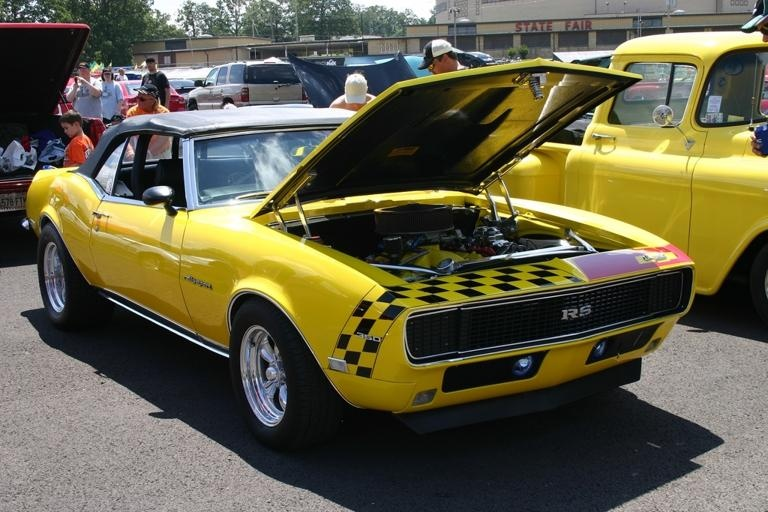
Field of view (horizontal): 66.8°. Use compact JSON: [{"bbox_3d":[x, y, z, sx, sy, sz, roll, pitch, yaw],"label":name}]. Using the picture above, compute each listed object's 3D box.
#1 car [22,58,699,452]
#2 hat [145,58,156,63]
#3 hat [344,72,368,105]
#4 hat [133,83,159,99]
[{"bbox_3d":[-0.686,-0.281,4.803,2.495,1.795,4.792,-10,19,-40],"label":"car"},{"bbox_3d":[-5.789,-4.910,14.536,0.289,0.099,0.275,-7,12,-32],"label":"hat"},{"bbox_3d":[-0.386,-2.194,7.591,0.332,0.267,0.433,1,60,-5],"label":"hat"},{"bbox_3d":[-3.486,-2.453,8.694,0.428,0.180,0.252,4,4,-36],"label":"hat"}]
